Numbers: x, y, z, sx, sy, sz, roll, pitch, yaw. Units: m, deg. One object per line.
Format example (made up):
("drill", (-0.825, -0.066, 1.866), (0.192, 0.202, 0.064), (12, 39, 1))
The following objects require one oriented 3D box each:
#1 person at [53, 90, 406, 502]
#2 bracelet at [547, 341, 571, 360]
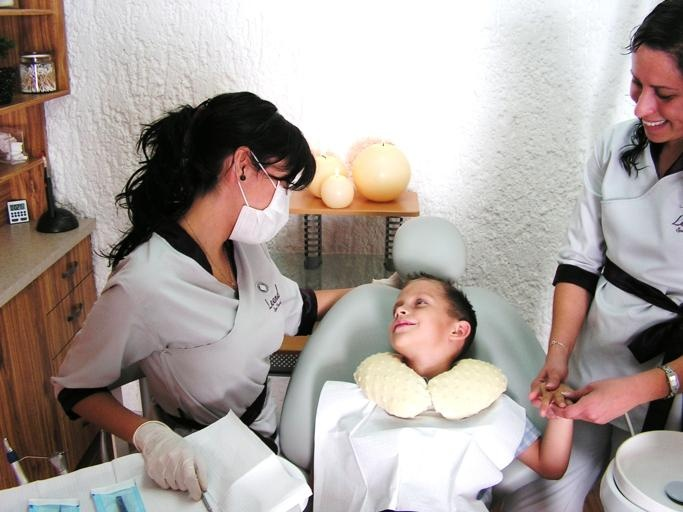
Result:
("person", (-0.286, 0.188, 1.314), (0.536, 1.108, 0.544), (10, 22, 22))
("bracelet", (0.543, 0.233, 1.289), (0.042, 0.047, 0.053), (1, 0, 7))
